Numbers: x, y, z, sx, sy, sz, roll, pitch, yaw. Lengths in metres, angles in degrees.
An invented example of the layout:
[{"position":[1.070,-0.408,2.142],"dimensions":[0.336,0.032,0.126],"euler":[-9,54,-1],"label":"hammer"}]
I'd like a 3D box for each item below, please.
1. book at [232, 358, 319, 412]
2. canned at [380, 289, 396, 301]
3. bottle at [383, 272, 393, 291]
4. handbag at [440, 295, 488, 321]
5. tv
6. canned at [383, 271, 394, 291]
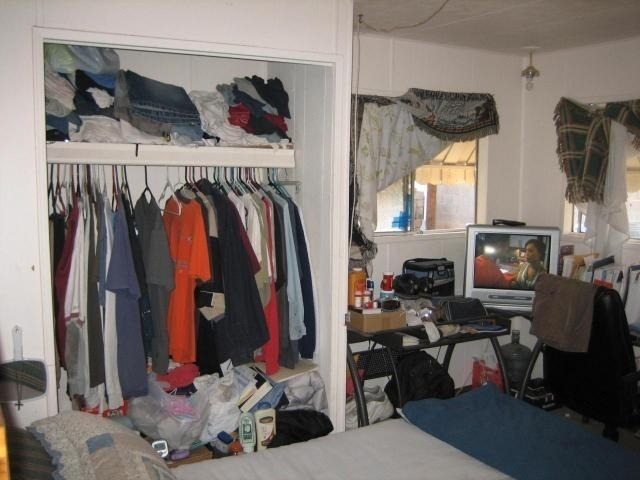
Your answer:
[{"position":[-0.354,0.904,3.350],"dimensions":[0.338,0.085,0.333],"euler":[-15,11,-40],"label":"book"},{"position":[0.471,0.390,3.730],"dimensions":[0.070,0.072,0.073],"euler":[0,0,28],"label":"canned"},{"position":[0.487,0.291,3.766],"dimensions":[0.067,0.122,0.082],"euler":[-1,14,3],"label":"bottle"},{"position":[1.052,0.505,3.835],"dimensions":[0.266,0.093,0.195],"euler":[-4,5,-41],"label":"handbag"},{"position":[1.547,0.226,4.141],"dimensions":[0.593,0.599,0.317],"euler":[3,-1,3],"label":"tv"},{"position":[0.494,0.306,3.822],"dimensions":[0.101,0.165,0.104],"euler":[2,0,6],"label":"canned"}]
